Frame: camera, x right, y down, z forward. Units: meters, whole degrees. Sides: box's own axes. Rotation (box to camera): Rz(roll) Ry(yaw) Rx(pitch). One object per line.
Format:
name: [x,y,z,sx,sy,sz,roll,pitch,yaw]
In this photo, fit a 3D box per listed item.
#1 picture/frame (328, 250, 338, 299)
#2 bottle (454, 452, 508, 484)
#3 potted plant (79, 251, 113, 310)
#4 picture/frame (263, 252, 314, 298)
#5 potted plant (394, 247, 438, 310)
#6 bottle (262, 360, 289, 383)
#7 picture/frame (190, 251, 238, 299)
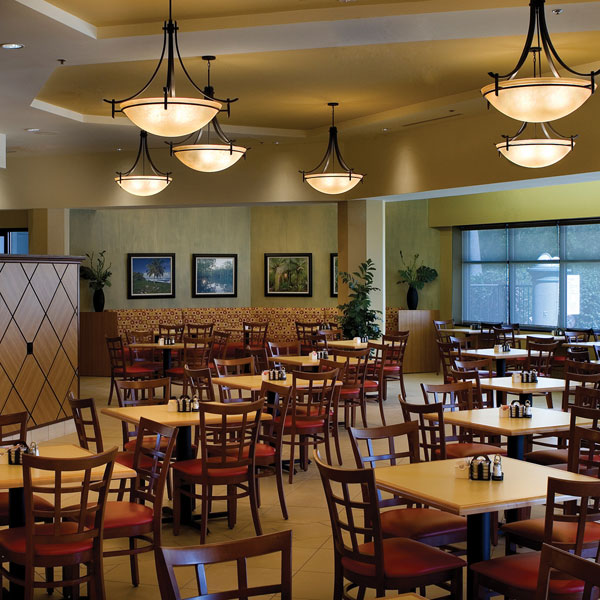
picture/frame: [0.750,-0.589,13.416,0.168,1.010,0.168,0,2,-3]
bottle: [0.831,0.726,2.670,0.138,0.125,0.136,-1,0,-2]
potted plant: [-4.173,-0.420,12.329,0.613,1.286,0.605,-1,2,-18]
picture/frame: [-0.199,-0.588,13.528,1.065,0.891,0.077,0,-4,2]
potted plant: [2.574,-0.472,13.233,0.850,1.275,0.585,0,2,-4]
bottle: [-0.241,0.702,5.876,0.187,0.175,0.172,3,-6,-28]
picture/frame: [-1.975,-0.575,13.410,1.110,1.055,0.077,1,-3,-18]
